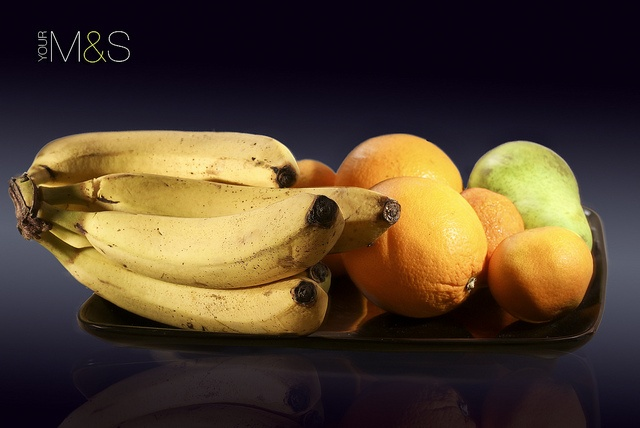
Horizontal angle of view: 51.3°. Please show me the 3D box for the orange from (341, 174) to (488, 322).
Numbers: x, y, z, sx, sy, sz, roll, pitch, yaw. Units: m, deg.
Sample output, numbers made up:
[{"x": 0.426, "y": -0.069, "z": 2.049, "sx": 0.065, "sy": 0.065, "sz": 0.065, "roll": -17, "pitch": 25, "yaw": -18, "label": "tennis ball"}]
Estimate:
[{"x": 0.227, "y": 0.040, "z": 1.425, "sx": 0.326, "sy": 0.246, "sz": 0.386, "roll": 4, "pitch": 13, "yaw": 22, "label": "orange"}]
